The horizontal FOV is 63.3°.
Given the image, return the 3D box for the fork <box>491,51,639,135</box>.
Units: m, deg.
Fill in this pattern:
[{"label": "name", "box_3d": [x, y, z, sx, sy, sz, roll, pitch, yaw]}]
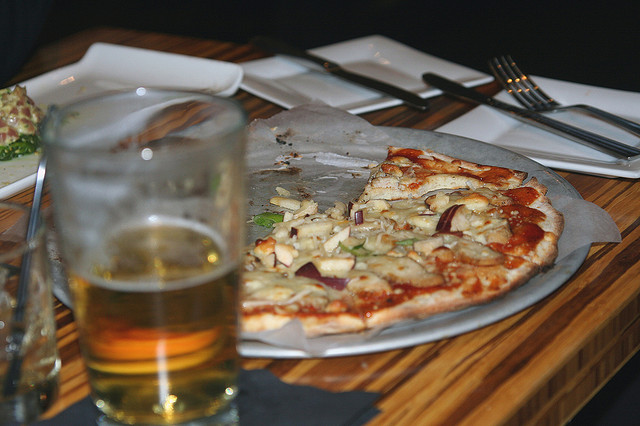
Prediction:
[{"label": "fork", "box_3d": [0.499, -0.308, 1.289, 0.582, 0.087, 0.085, 25, 44, 32]}]
